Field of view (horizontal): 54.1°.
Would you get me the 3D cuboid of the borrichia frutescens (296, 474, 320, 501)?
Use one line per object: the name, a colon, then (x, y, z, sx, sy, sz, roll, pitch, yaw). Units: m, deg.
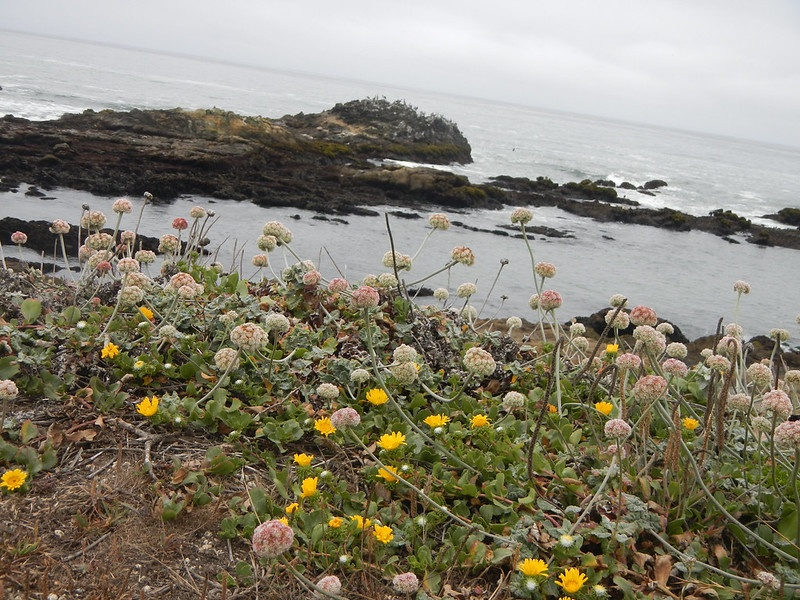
borrichia frutescens: (-0.662, 1.333, 5.651, 0.131, 0.200, 0.194, 8, 15, -5)

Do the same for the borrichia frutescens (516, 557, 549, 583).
borrichia frutescens: (0.903, 1.820, 5.355, 0.236, 0.148, 0.156, 9, 15, 0)

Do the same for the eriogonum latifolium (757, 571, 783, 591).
eriogonum latifolium: (2.508, 1.906, 5.348, 0.143, 0.078, 0.114, 18, 6, -23)

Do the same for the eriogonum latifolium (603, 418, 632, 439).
eriogonum latifolium: (1.544, 0.920, 5.650, 0.195, 0.181, 0.190, 1, 5, -5)

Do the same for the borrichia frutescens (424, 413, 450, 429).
borrichia frutescens: (0.270, 0.942, 6.150, 0.139, 0.058, 0.131, 2, 10, 15)

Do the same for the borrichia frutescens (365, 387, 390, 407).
borrichia frutescens: (-0.196, 0.764, 6.262, 0.158, 0.072, 0.150, -4, 24, -41)

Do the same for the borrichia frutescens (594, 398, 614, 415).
borrichia frutescens: (1.709, 0.896, 6.605, 0.137, 0.096, 0.145, 6, 6, -36)

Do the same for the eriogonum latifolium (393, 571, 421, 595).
eriogonum latifolium: (0.043, 1.887, 5.283, 0.195, 0.119, 0.192, 8, -9, -44)

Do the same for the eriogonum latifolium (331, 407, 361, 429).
eriogonum latifolium: (-0.412, 0.887, 5.911, 0.196, 0.179, 0.183, -1, -10, 7)

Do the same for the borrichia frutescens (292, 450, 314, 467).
borrichia frutescens: (-0.724, 1.157, 5.808, 0.144, 0.089, 0.146, -1, -20, 25)

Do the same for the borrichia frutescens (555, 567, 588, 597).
borrichia frutescens: (1.134, 1.883, 5.245, 0.209, 0.091, 0.213, -14, 13, 22)

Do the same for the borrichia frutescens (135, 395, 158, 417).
borrichia frutescens: (-1.974, 0.831, 6.092, 0.149, 0.191, 0.214, 6, 16, -14)

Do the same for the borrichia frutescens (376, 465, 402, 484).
borrichia frutescens: (-0.090, 1.284, 5.762, 0.167, 0.087, 0.151, 7, 0, -9)

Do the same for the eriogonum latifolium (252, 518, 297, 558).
eriogonum latifolium: (-0.809, 1.503, 4.934, 0.257, 0.235, 0.246, 0, -1, -9)
